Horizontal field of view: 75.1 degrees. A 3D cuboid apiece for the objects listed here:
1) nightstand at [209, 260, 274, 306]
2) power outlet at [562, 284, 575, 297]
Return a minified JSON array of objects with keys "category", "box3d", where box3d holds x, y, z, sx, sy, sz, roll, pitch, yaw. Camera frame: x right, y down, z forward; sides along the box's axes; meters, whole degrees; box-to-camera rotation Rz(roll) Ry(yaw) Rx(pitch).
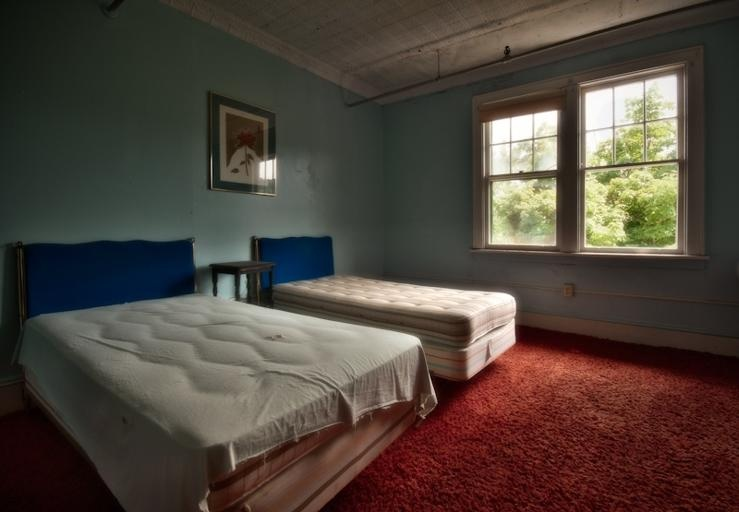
[{"category":"nightstand","box3d":[-1.313,0.168,5.080,0.460,0.589,0.608,0,3,29]},{"category":"power outlet","box3d":[2.386,0.416,5.706,0.127,0.155,0.051,5,12,23]}]
